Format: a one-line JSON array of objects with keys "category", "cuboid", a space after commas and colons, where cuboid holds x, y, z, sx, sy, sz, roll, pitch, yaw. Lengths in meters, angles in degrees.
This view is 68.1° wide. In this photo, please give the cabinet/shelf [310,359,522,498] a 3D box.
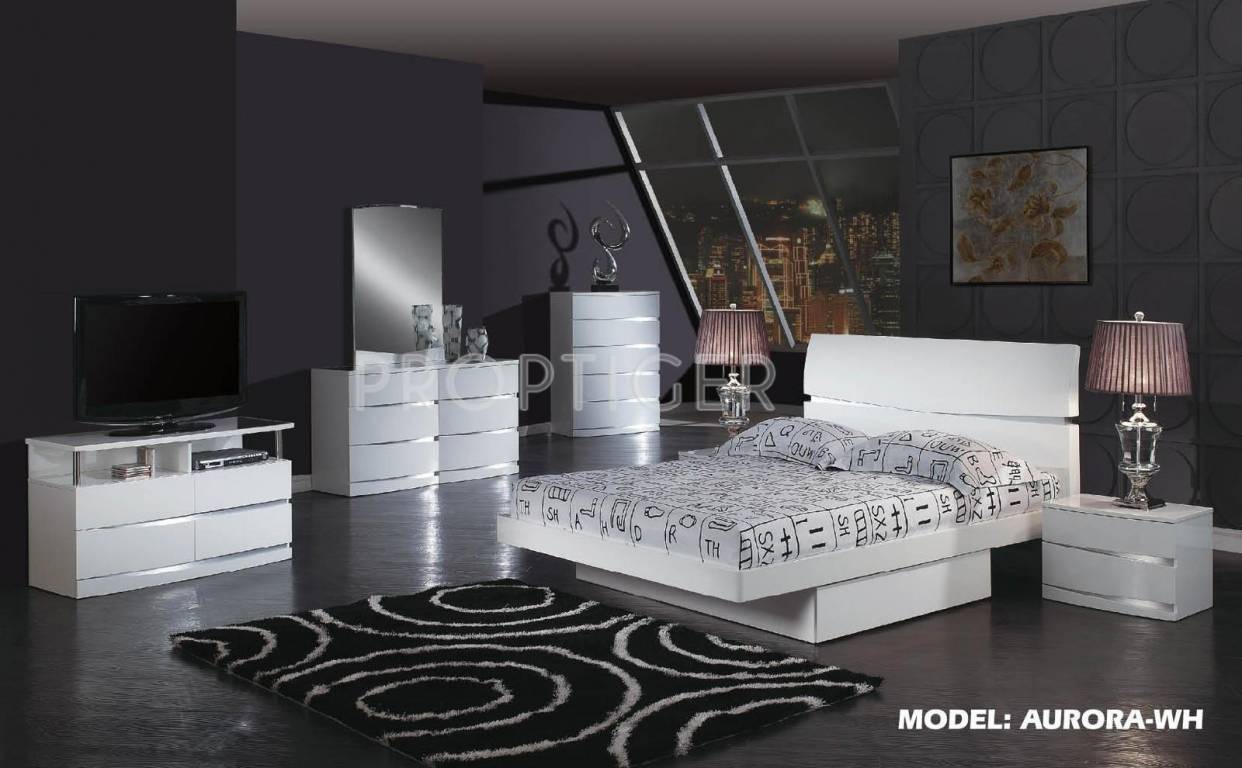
[{"category": "cabinet/shelf", "cuboid": [-1.509, 0.434, 8.905, 2.302, 1.164, 0.797, -8, -11, 38]}]

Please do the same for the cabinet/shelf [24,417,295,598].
[{"category": "cabinet/shelf", "cuboid": [-3.102, 0.799, 6.322, 0.640, 0.884, 1.614, 3, 1, 29]}]

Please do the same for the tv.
[{"category": "tv", "cuboid": [-3.171, -0.141, 6.348, 0.287, 0.933, 1.316, 9, 8, 27]}]

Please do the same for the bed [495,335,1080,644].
[{"category": "bed", "cuboid": [1.116, 0.491, 6.265, 3.033, 1.385, 2.767, -7, 9, -39]}]

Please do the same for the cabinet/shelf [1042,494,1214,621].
[{"category": "cabinet/shelf", "cuboid": [3.148, 1.079, 5.730, 0.524, 0.574, 0.885, 2, -3, -29]}]

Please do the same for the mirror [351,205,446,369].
[{"category": "mirror", "cuboid": [-2.170, -1.004, 8.728, 0.958, 1.403, 0.113, 4, 3, 31]}]

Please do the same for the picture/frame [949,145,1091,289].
[{"category": "picture/frame", "cuboid": [3.194, -1.333, 7.267, 1.382, 1.162, 0.142, 1, 1, 42]}]

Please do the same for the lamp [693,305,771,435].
[{"category": "lamp", "cuboid": [0.834, -0.071, 7.004, 0.839, 0.941, 0.781, -5, -4, 12]}]
